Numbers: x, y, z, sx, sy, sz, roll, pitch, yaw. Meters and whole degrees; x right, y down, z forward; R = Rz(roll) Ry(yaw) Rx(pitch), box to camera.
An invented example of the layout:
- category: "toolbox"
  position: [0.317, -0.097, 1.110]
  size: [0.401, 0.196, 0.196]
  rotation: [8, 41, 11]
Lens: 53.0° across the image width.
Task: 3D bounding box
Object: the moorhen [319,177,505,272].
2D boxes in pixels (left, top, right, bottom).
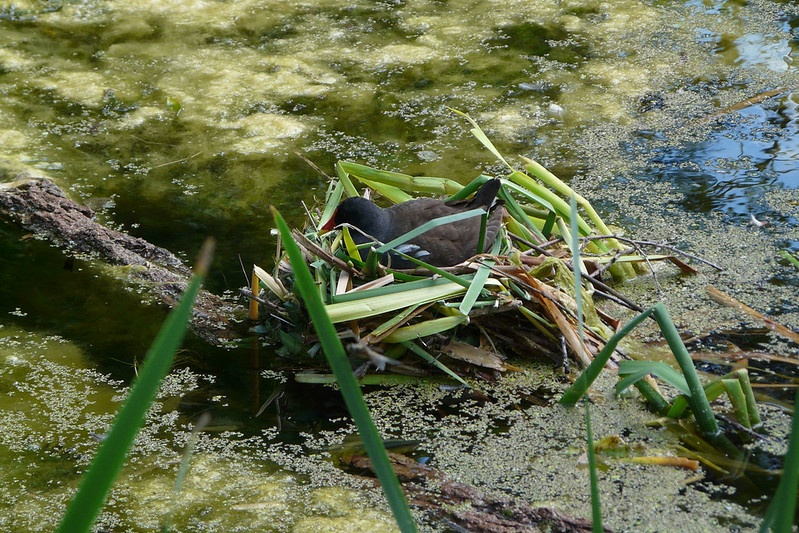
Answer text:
- category: "moorhen"
  position: [0.131, -0.172, 3.625]
  size: [0.996, 0.369, 0.357]
  rotation: [-9, 39, 4]
